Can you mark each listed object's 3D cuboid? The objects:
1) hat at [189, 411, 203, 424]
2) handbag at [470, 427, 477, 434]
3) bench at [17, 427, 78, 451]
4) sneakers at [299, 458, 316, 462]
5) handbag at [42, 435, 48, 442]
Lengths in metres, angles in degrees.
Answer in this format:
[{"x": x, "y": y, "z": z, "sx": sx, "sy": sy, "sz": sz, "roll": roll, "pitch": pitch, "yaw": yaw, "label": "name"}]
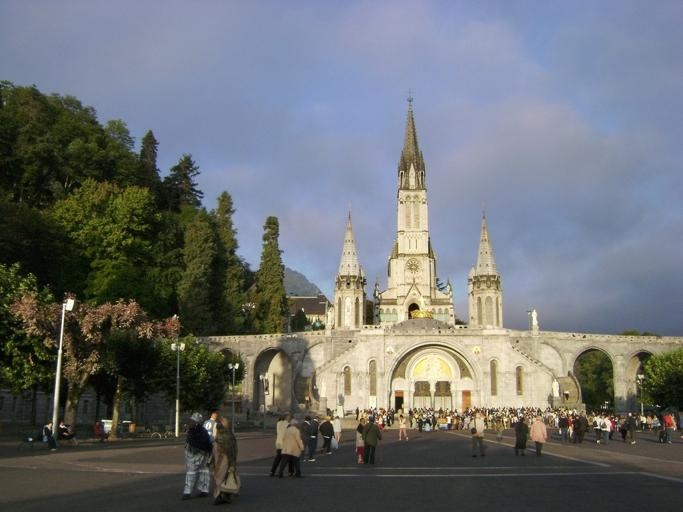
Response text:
[{"x": -4.558, "y": 4.982, "z": 24.906, "sx": 0.288, "sy": 0.354, "sz": 0.423, "roll": 5, "pitch": 2, "yaw": 20, "label": "hat"}, {"x": 5.751, "y": 7.657, "z": 35.063, "sx": 0.252, "sy": 0.501, "sz": 0.363, "roll": 2, "pitch": 5, "yaw": 8, "label": "handbag"}, {"x": -12.930, "y": 8.035, "z": 35.859, "sx": 2.498, "sy": 1.571, "sz": 0.782, "roll": 4, "pitch": -20, "yaw": -6, "label": "bench"}, {"x": -1.404, "y": 8.371, "z": 32.980, "sx": 0.651, "sy": 0.304, "sz": 0.231, "roll": -1, "pitch": -19, "yaw": 5, "label": "sneakers"}, {"x": -12.974, "y": 7.979, "z": 35.136, "sx": 0.222, "sy": 0.254, "sz": 0.406, "roll": 10, "pitch": 11, "yaw": -37, "label": "handbag"}]
